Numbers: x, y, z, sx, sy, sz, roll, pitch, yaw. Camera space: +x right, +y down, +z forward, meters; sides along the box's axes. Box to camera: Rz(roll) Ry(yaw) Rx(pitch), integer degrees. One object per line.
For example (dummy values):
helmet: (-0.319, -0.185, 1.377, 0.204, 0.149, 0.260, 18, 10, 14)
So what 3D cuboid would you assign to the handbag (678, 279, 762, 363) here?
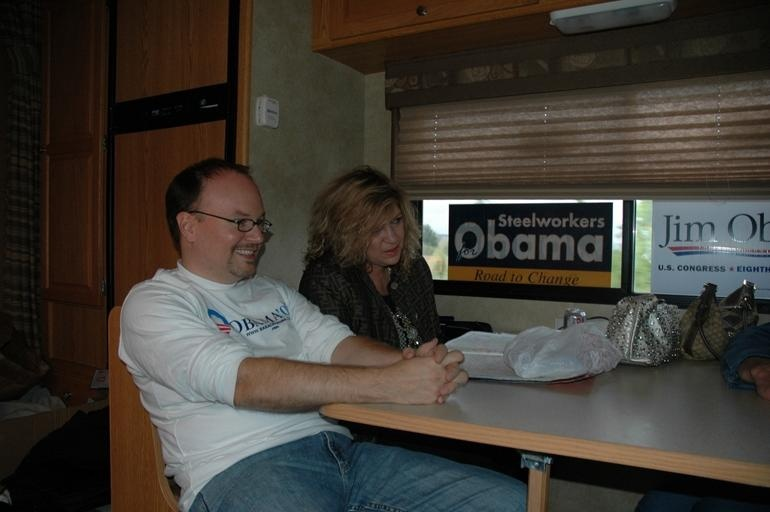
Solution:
handbag: (1.359, 0.247, 2.076, 0.233, 0.292, 0.421, -4, -7, 4)

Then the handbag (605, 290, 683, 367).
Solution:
handbag: (0.958, 0.270, 2.029, 0.231, 0.129, 0.315, 13, 45, 26)
